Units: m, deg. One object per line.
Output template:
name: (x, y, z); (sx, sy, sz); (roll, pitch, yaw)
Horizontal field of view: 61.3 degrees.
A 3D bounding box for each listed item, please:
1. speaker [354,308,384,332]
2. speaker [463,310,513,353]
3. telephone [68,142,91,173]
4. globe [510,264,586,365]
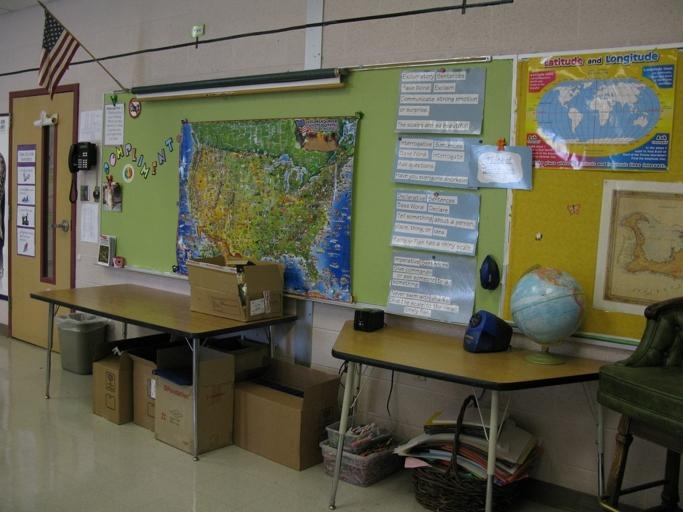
speaker: (0.169, 0.397, 3.641); (0.148, 0.124, 0.141); (5, -2, -37)
speaker: (0.826, 0.434, 3.325); (0.270, 0.250, 0.175); (-3, 0, -9)
telephone: (-2.406, -0.893, 5.269); (0.289, 0.289, 0.113); (12, 15, 42)
globe: (1.134, 0.312, 3.217); (0.421, 0.550, 0.430); (-2, -4, 41)
